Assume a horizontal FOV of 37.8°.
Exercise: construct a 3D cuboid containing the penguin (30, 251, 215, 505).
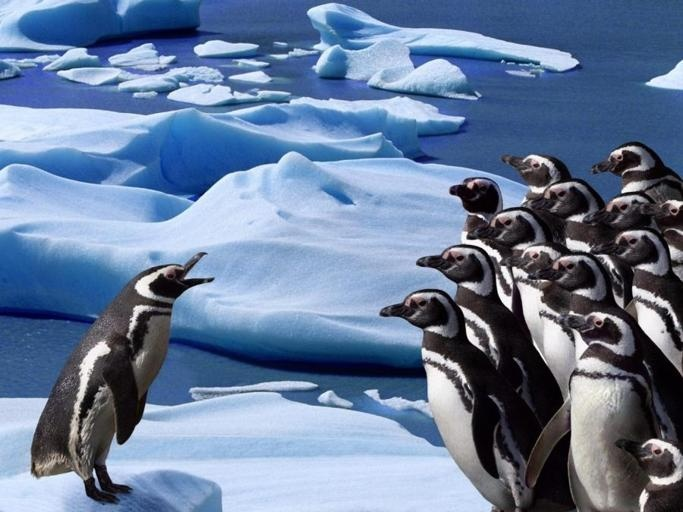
[{"bbox_3d":[-0.891,0.466,4.178,0.730,1.030,0.681,6,19,14],"label":"penguin"}]
